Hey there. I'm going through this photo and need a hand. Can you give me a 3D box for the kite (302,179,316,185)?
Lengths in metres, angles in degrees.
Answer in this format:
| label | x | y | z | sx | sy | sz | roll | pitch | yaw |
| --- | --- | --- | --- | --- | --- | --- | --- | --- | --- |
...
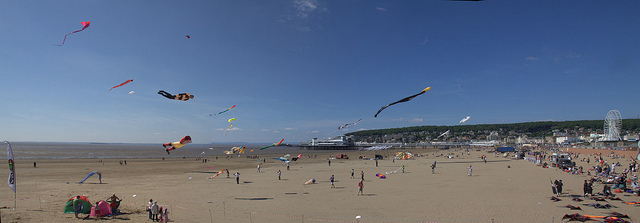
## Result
| label | x | y | z | sx | sy | sz | roll | pitch | yaw |
| --- | --- | --- | --- | --- | --- | --- | --- | --- | --- |
| kite | -4.355 | 29.960 | 148.022 | 5.199 | 2.317 | 1.815 | 2 | -8 | -1 |
